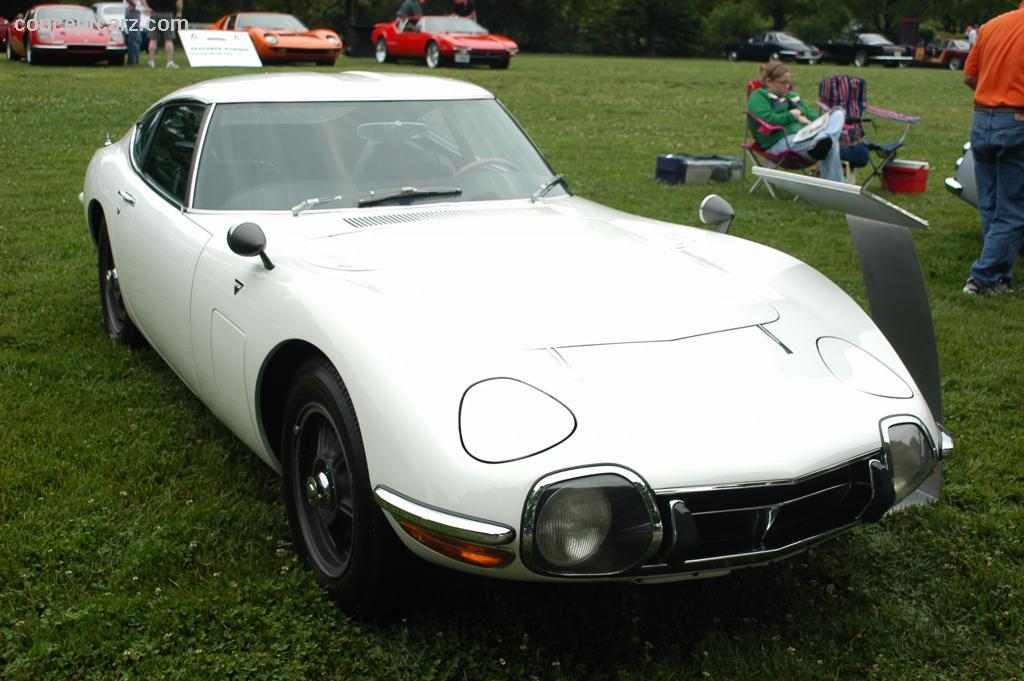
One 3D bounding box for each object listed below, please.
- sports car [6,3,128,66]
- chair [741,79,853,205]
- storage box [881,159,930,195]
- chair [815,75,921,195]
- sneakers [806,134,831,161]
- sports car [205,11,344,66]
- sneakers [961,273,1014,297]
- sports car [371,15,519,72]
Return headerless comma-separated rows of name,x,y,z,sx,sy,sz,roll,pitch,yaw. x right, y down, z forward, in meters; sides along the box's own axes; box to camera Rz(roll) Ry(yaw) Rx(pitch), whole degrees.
sports car,-10.486,-7.093,20.565,1.429,0.974,2.994,-7,22,-29
chair,3.429,-2.537,10.480,1.133,1.468,0.975,2,18,29
storage box,4.686,-1.968,10.545,0.515,0.419,0.406,11,16,43
chair,4.667,-2.543,10.953,0.983,1.303,0.930,10,20,23
sneakers,3.522,-2.192,10.038,0.235,0.232,0.172,42,41,-9
sports car,-5.318,-6.914,20.127,2.439,0.957,1.557,13,26,25
sneakers,3.882,-0.424,7.128,0.294,0.126,0.212,-1,8,-4
sports car,-2.019,-7.501,22.126,2.272,1.230,4.231,-20,32,-39
